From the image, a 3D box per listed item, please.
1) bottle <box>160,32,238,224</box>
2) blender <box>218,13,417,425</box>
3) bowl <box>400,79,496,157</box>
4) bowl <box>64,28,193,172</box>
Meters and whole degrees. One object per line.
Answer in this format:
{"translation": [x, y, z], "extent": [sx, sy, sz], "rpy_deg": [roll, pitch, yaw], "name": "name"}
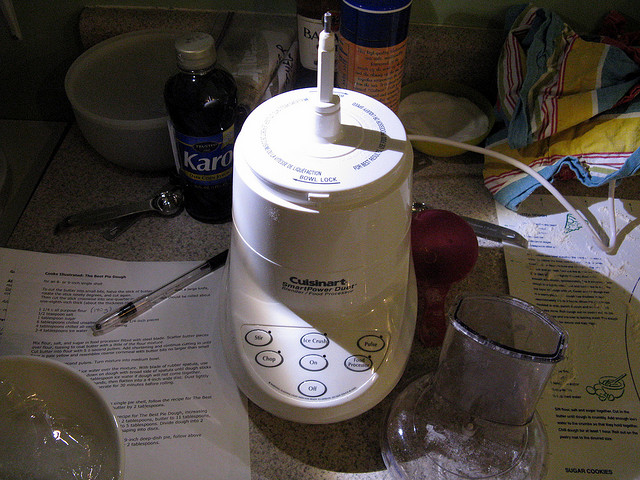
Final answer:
{"translation": [-0.151, -0.135, 0.775], "extent": [0.087, 0.235, 0.131], "rpy_deg": [-4, 58, -8], "name": "bottle"}
{"translation": [0.002, -0.025, 0.666], "extent": [0.232, 0.339, 0.396], "rpy_deg": [4, 41, 5], "name": "blender"}
{"translation": [0.191, -0.219, 0.953], "extent": [0.188, 0.118, 0.150], "rpy_deg": [5, 45, 4], "name": "bowl"}
{"translation": [-0.288, -0.216, 0.888], "extent": [0.154, 0.109, 0.205], "rpy_deg": [4, 58, -4], "name": "bowl"}
